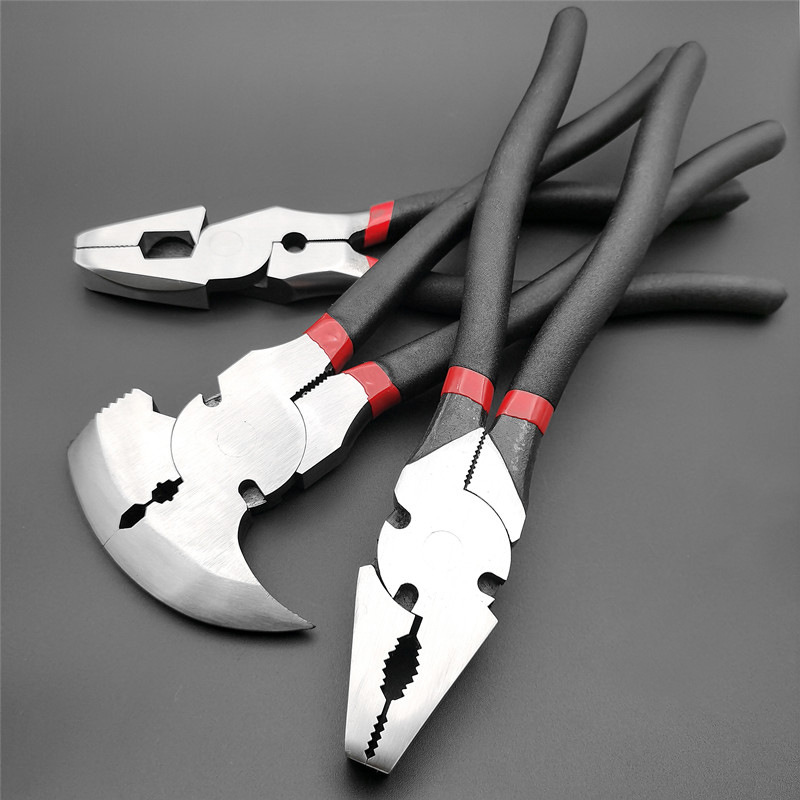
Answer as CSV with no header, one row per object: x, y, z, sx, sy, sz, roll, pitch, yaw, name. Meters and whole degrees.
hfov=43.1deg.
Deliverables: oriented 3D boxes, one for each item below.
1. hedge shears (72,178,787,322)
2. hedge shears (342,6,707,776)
0.026,-0.169,1.201,0.621,0.047,0.182,-4,44,-3,hedge shears
0.160,-0.098,1.123,0.202,0.064,1.004,19,66,9,hedge shears
